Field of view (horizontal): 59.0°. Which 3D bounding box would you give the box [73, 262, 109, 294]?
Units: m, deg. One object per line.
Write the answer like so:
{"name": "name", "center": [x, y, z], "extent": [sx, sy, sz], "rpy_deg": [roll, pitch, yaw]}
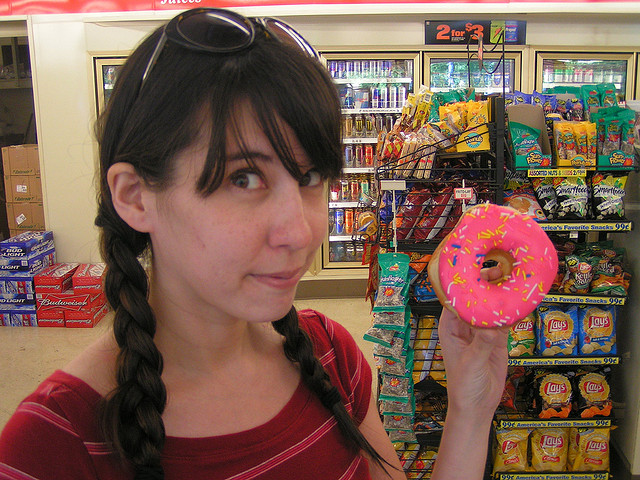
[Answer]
{"name": "box", "center": [-2.187, 0.320, 5.286], "extent": [0.284, 0.116, 0.520], "rpy_deg": [-3, 21, -24]}

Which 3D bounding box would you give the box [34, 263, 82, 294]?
{"name": "box", "center": [-2.476, 0.399, 5.306], "extent": [0.254, 0.126, 0.490], "rpy_deg": [0, 0, -9]}

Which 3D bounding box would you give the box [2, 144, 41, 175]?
{"name": "box", "center": [-2.983, -0.785, 5.638], "extent": [0.320, 0.333, 0.199], "rpy_deg": [0, 4, -17]}

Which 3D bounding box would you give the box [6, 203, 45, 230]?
{"name": "box", "center": [-3.014, -0.264, 5.833], "extent": [0.303, 0.297, 0.292], "rpy_deg": [0, 4, -3]}

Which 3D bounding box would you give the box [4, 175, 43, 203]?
{"name": "box", "center": [-2.985, -0.502, 5.702], "extent": [0.312, 0.235, 0.297], "rpy_deg": [0, 3, -14]}

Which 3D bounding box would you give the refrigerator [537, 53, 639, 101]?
{"name": "refrigerator", "center": [2.496, -1.520, 5.383], "extent": [0.883, 0.423, 0.568], "rpy_deg": [0, 4, 4]}

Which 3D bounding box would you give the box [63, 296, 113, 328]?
{"name": "box", "center": [-2.207, 0.670, 5.202], "extent": [0.488, 0.215, 0.114], "rpy_deg": [-1, -26, 19]}
